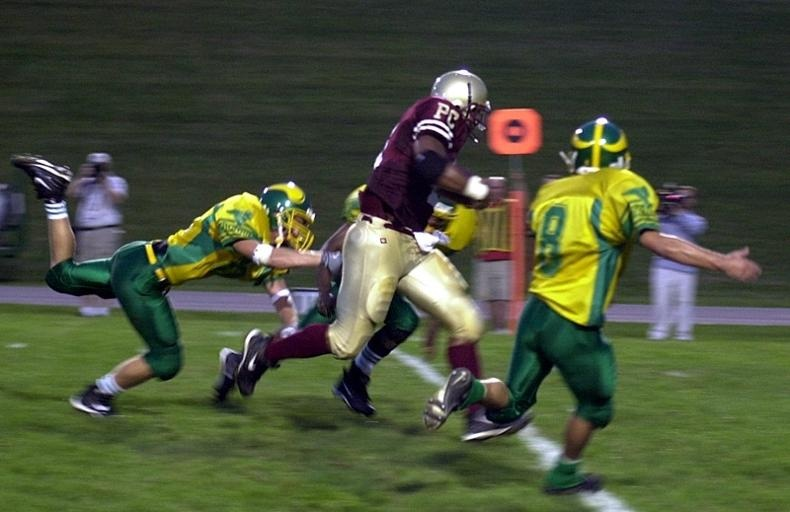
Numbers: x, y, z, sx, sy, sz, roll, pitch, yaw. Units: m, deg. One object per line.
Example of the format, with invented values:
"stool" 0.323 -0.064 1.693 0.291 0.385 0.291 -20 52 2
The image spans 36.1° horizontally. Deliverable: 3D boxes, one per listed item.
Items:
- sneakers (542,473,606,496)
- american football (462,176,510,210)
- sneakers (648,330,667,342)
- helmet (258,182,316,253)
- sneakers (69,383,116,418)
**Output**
"sneakers" 1.448 1.936 10.235 0.597 0.171 0.149 -9 32 1
"american football" 0.759 -0.568 10.461 0.364 0.167 0.335 -2 0 32
"sneakers" 3.195 0.967 14.766 0.185 0.089 0.159 1 -1 -36
"helmet" -1.096 -0.371 11.492 0.757 0.481 0.448 10 -12 -2
"sneakers" -2.797 1.353 11.334 0.585 0.180 0.208 17 -1 -2
